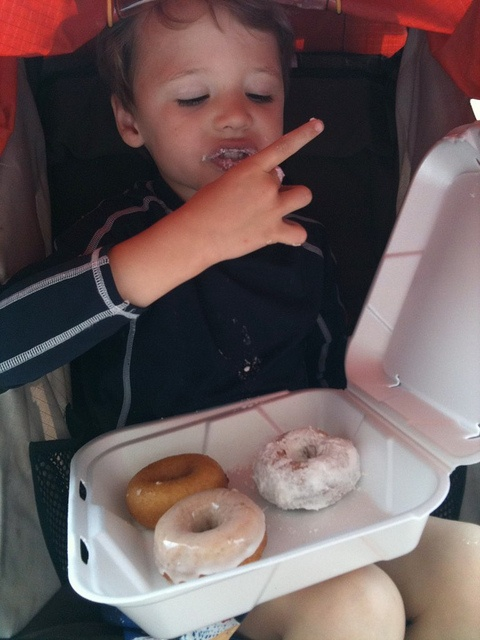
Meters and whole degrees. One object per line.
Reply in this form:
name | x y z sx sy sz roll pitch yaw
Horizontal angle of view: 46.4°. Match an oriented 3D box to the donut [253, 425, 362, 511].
donut | 0.086 0.184 0.720 0.133 0.064 0.113 -26 36 -36
